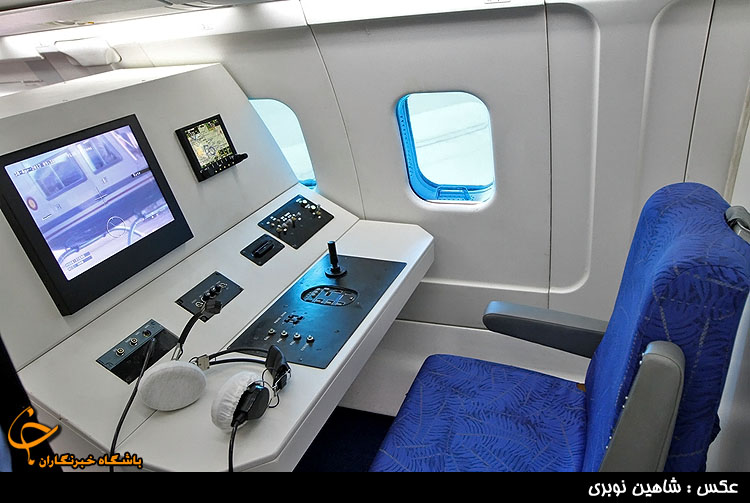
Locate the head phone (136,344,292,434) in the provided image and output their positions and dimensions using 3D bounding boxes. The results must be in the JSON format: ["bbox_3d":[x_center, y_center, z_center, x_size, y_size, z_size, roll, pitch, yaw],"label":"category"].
[{"bbox_3d":[-0.477,0.395,1.557,0.267,0.102,0.336,15,24,23],"label":"head phone"}]

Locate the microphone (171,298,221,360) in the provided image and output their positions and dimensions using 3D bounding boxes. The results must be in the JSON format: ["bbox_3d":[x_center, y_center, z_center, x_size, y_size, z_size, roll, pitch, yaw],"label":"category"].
[{"bbox_3d":[-0.648,0.286,1.740,0.085,0.235,0.048,18,31,-27],"label":"microphone"}]
